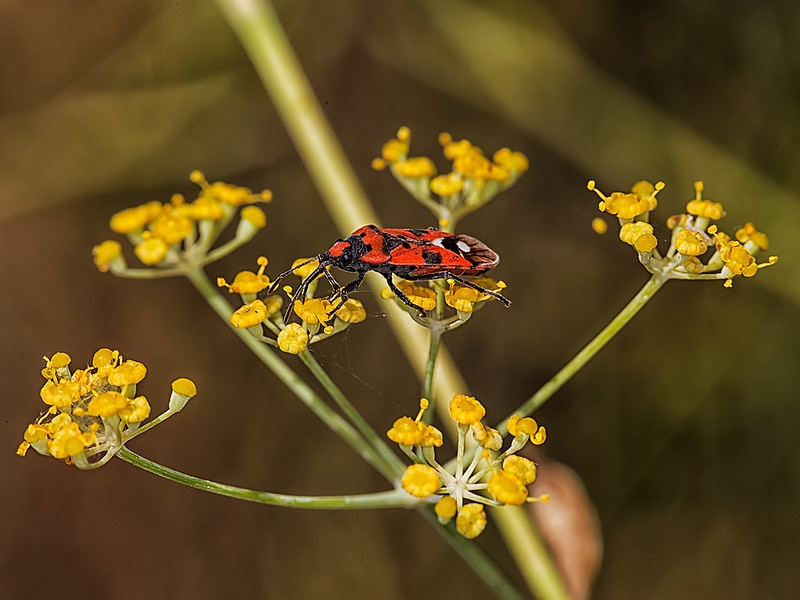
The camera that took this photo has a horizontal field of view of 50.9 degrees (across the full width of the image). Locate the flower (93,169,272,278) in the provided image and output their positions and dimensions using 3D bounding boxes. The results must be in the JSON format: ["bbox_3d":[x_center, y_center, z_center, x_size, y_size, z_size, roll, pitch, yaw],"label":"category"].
[{"bbox_3d":[-0.964,-0.227,3.853,0.651,0.260,0.504,-23,14,-5],"label":"flower"}]

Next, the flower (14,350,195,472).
[{"bbox_3d":[-1.196,0.447,3.335,0.526,0.206,0.499,-16,47,-24],"label":"flower"}]

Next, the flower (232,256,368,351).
[{"bbox_3d":[-0.445,0.069,3.678,0.460,0.183,0.453,6,30,-39],"label":"flower"}]

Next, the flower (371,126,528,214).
[{"bbox_3d":[0.244,-0.616,4.239,0.549,0.298,0.554,9,8,-4],"label":"flower"}]
